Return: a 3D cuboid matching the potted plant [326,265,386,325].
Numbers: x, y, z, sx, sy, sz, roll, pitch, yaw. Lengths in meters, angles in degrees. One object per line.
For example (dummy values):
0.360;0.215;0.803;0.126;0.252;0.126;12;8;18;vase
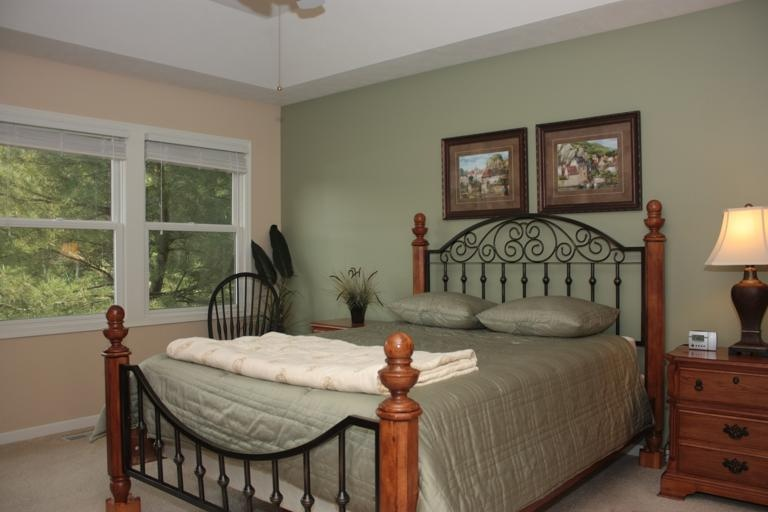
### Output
-0.312;0.370;5.202;0.536;0.505;0.423;0;-4;15;potted plant
